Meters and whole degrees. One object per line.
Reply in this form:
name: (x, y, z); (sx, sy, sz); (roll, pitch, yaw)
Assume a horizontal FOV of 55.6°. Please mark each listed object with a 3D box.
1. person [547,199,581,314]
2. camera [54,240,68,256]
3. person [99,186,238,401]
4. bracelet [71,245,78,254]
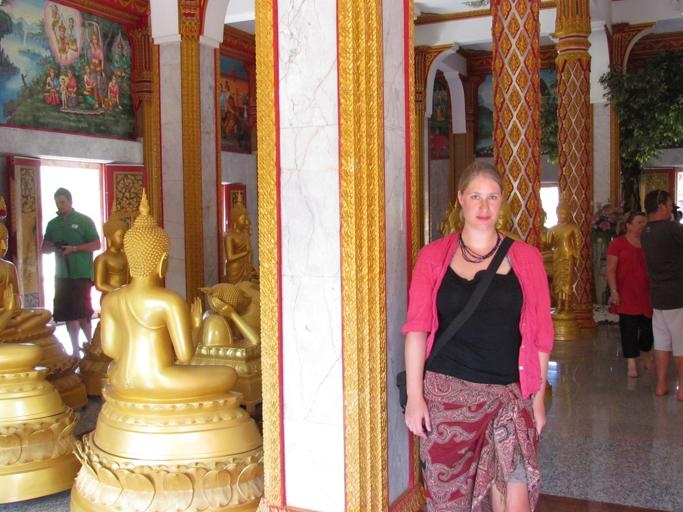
person: (2.775, 0.008, 8.177); (0.456, 1.458, 0.410); (6, 7, 8)
camera: (-3.171, -0.084, 7.276); (0.124, 0.152, 0.136); (2, 8, -26)
person: (-1.140, 0.275, 3.957); (0.773, 1.265, 0.565); (-2, -4, 20)
bracelet: (-3.016, -0.078, 7.307); (0.080, 0.089, 0.027); (3, -2, -36)
